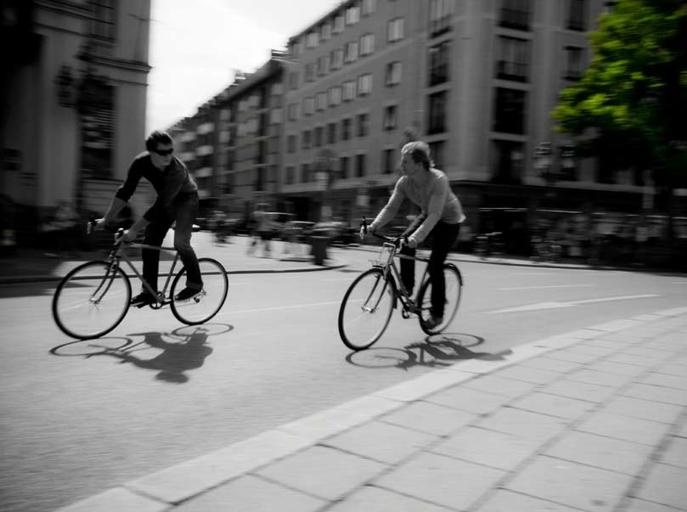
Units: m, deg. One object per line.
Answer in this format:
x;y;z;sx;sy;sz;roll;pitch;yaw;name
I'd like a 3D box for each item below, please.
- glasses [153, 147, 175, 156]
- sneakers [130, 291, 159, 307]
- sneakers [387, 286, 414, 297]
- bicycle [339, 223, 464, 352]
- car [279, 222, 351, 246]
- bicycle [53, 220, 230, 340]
-1.811;-1.048;7.079;0.181;0.076;0.081;-2;8;-24;glasses
-2.063;0.444;7.332;0.138;0.088;0.308;15;11;40;sneakers
0.586;0.369;7.339;0.216;0.052;0.151;6;-4;-31;sneakers
0.669;0.349;7.562;1.044;1.170;2.192;13;7;38;bicycle
-1.373;-1.142;31.547;3.415;0.910;1.454;-2;4;-26;car
-2.030;0.224;7.387;0.872;1.114;2.162;15;11;37;bicycle
